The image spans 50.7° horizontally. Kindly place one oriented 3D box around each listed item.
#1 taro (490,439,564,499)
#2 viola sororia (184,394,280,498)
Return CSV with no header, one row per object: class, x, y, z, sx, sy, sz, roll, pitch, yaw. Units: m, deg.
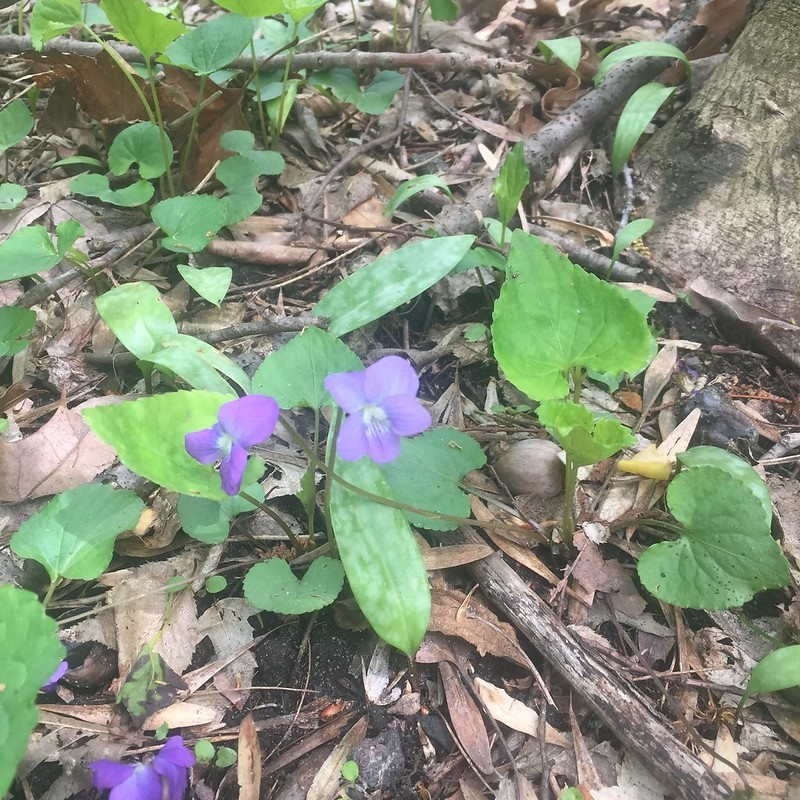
taro,0.433,0.230,2.768,0.244,0.167,0.156,-7,69,16
viola sororia,-0.408,0.124,2.252,0.292,0.112,0.223,-45,68,11
